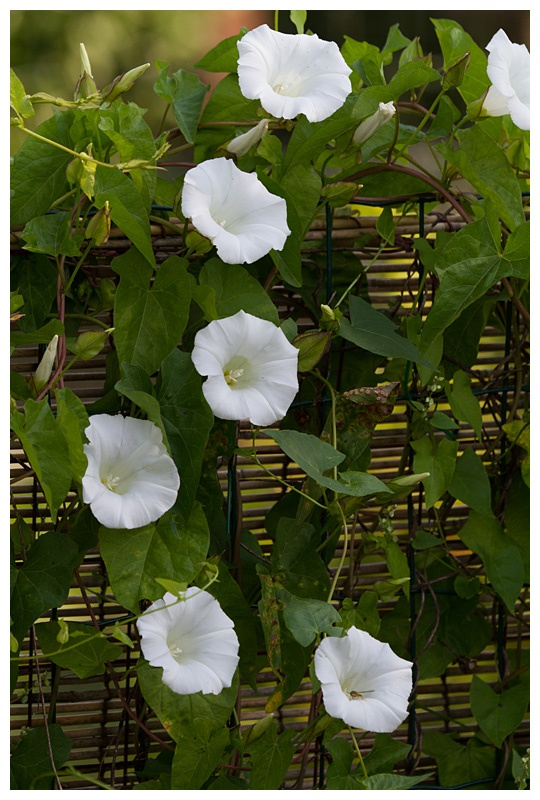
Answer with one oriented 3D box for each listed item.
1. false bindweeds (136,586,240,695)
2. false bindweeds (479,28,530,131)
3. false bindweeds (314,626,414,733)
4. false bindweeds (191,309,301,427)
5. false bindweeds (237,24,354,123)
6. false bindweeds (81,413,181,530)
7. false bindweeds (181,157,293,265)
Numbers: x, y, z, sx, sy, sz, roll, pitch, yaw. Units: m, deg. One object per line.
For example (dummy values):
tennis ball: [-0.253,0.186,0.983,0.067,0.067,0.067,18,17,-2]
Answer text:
false bindweeds: [-0.090,0.266,0.882,0.095,0.093,0.091,-1,0,10]
false bindweeds: [0.314,-0.411,1.080,0.059,0.144,0.191,-1,0,18]
false bindweeds: [0.097,0.306,0.920,0.102,0.048,0.113,14,5,-30]
false bindweeds: [-0.030,-0.032,0.917,0.120,0.118,0.061,17,26,31]
false bindweeds: [0.023,-0.380,0.946,0.140,0.095,0.084,-1,0,-41]
false bindweeds: [-0.156,0.076,0.886,0.107,0.109,0.069,-1,0,-21]
false bindweeds: [-0.037,-0.210,0.910,0.143,0.100,0.080,-1,0,-21]
